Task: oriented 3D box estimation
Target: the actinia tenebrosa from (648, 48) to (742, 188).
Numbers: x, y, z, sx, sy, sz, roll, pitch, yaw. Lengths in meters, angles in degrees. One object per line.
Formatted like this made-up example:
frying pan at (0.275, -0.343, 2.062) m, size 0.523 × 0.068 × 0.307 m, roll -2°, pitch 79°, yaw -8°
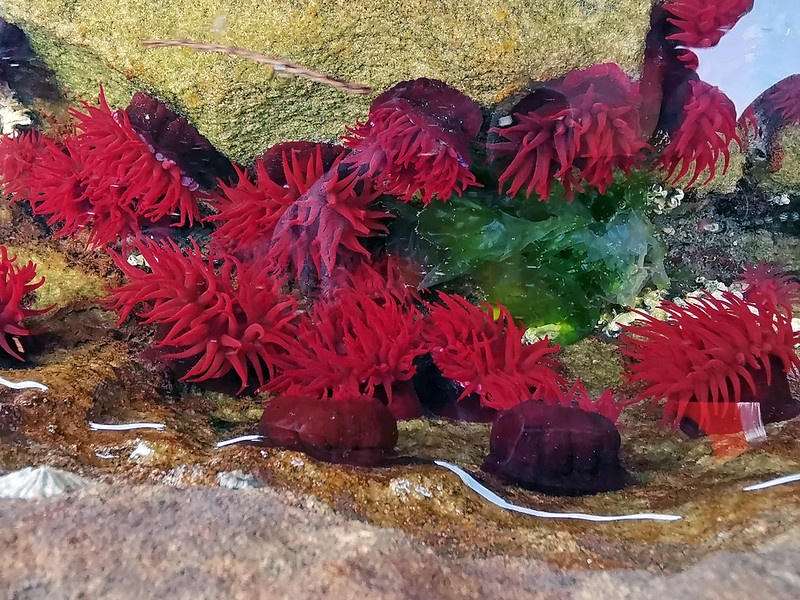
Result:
actinia tenebrosa at (1.397, -0.849, 3.570) m, size 0.164 × 0.397 × 0.377 m, roll 13°, pitch 88°, yaw -9°

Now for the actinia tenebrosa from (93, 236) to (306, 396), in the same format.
actinia tenebrosa at (-0.923, 0.096, 3.625) m, size 0.866 × 0.394 × 0.607 m, roll 27°, pitch 74°, yaw -18°

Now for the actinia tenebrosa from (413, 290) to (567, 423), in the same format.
actinia tenebrosa at (0.379, 0.243, 3.405) m, size 0.549 × 0.351 × 0.548 m, roll 33°, pitch 3°, yaw -19°

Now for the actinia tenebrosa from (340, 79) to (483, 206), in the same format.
actinia tenebrosa at (0.073, -0.676, 3.353) m, size 0.538 × 0.514 × 0.238 m, roll 15°, pitch 39°, yaw 0°

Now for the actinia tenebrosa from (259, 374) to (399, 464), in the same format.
actinia tenebrosa at (-0.264, 0.458, 2.987) m, size 0.380 × 0.150 × 0.279 m, roll 8°, pitch 6°, yaw -5°
